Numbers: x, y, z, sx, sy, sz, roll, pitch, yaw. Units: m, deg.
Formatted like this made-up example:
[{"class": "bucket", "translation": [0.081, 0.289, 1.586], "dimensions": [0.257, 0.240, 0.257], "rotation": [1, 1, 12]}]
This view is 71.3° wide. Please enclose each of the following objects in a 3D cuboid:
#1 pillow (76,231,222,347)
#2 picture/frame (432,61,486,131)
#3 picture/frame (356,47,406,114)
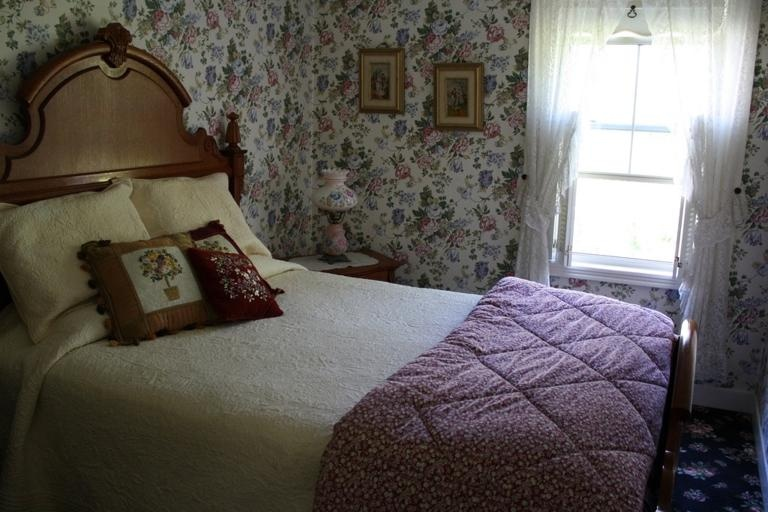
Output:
[{"class": "pillow", "translation": [-1.107, 0.128, 2.474], "dimensions": [0.502, 0.480, 0.130], "rotation": [-13, -12, -37]}, {"class": "picture/frame", "translation": [0.564, -1.186, 3.933], "dimensions": [0.503, 0.606, 0.062], "rotation": [2, 8, 19]}, {"class": "picture/frame", "translation": [-0.007, -1.357, 4.104], "dimensions": [0.480, 0.582, 0.060], "rotation": [4, 12, 21]}]
